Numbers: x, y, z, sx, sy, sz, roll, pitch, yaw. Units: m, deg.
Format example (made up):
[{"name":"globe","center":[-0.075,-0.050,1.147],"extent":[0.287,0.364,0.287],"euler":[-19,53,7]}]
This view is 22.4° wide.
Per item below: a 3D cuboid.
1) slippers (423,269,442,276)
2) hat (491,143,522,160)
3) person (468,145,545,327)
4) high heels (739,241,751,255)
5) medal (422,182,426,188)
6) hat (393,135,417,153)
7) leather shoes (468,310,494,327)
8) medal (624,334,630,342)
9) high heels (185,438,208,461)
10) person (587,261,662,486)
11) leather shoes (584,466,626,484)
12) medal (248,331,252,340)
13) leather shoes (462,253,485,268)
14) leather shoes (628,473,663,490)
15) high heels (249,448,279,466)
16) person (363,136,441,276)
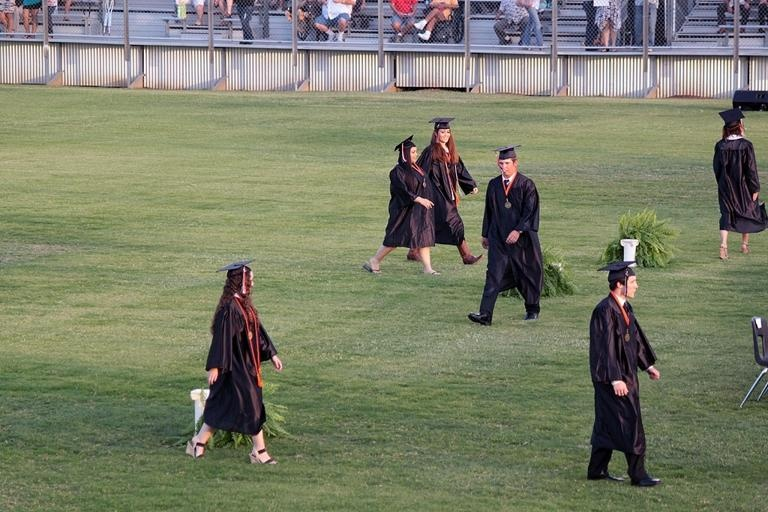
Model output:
[{"name":"slippers","center":[0.962,0.387,38.535],"extent":[0.368,0.151,0.122],"euler":[0,13,3]},{"name":"hat","center":[2.295,-1.811,36.192],"extent":[0.640,0.305,0.534],"euler":[0,12,19]},{"name":"person","center":[2.328,-0.292,36.082],"extent":[1.250,3.234,0.726],"euler":[0,11,1]},{"name":"high heels","center":[7.386,-0.109,39.653],"extent":[0.106,0.134,0.343],"euler":[5,16,19]},{"name":"medal","center":[0.793,-1.297,38.017],"extent":[0.068,0.090,0.028],"euler":[-4,1,-32]},{"name":"hat","center":[0.507,-2.099,38.074],"extent":[0.519,0.141,0.373],"euler":[-22,2,-11]},{"name":"leather shoes","center":[1.798,1.214,36.134],"extent":[0.481,0.208,0.184],"euler":[19,-28,-9]},{"name":"medal","center":[4.004,1.380,32.024],"extent":[0.108,0.131,0.031],"euler":[4,-1,-6]},{"name":"high heels","center":[-3.171,3.264,32.784],"extent":[0.180,0.204,0.525],"euler":[26,4,-27]},{"name":"person","center":[3.947,2.022,32.157],"extent":[1.065,3.541,0.692],"euler":[0,11,5]},{"name":"leather shoes","center":[3.701,3.654,32.486],"extent":[0.701,0.269,0.218],"euler":[-1,5,-2]},{"name":"medal","center":[-2.226,1.355,32.392],"extent":[0.068,0.089,0.021],"euler":[-2,-5,-23]},{"name":"leather shoes","center":[1.791,0.114,38.972],"extent":[0.427,0.282,0.166],"euler":[-26,11,-1]},{"name":"leather shoes","center":[4.343,3.739,32.220],"extent":[0.512,0.209,0.185],"euler":[-2,10,-3]},{"name":"high heels","center":[-2.038,3.372,32.670],"extent":[0.505,0.218,0.207],"euler":[4,6,10]},{"name":"person","center":[0.387,-0.852,38.058],"extent":[1.164,2.600,0.497],"euler":[0,11,1]}]
